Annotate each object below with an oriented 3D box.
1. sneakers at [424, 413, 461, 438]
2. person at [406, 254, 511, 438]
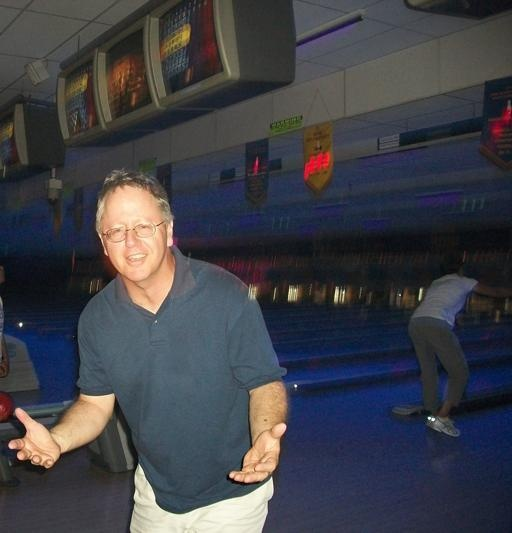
[{"bbox_3d":[1.410,1.224,3.445,0.098,0.116,0.272,5,0,-35],"label":"sneakers"},{"bbox_3d":[1.496,0.600,3.458,0.435,1.313,0.619,-6,14,-15],"label":"person"}]
